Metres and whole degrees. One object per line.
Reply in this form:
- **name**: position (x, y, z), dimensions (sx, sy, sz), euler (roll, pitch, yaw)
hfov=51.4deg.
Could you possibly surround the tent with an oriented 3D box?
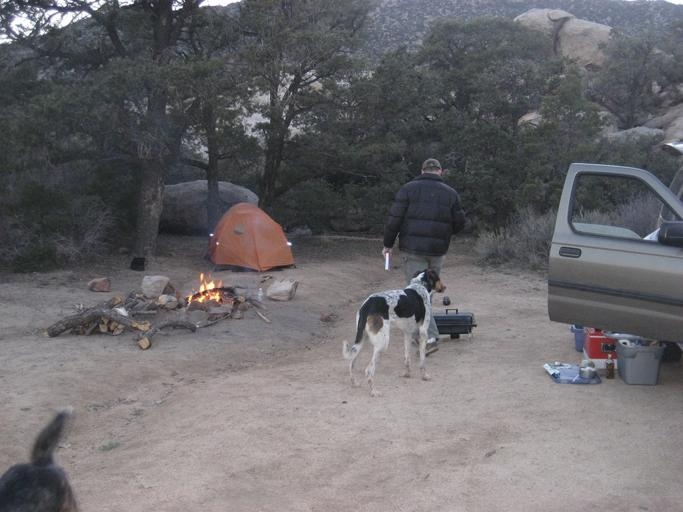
- **tent**: position (-2.539, -0.514, 20.219), dimensions (2.063, 1.819, 1.175), euler (2, 6, -4)

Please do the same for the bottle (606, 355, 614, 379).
- **bottle**: position (4.033, 1.666, 10.661), dimensions (0.133, 0.319, 0.271), euler (4, 6, 22)

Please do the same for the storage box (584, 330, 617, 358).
- **storage box**: position (3.950, 1.285, 10.917), dimensions (0.370, 0.497, 0.480), euler (-3, 7, 0)

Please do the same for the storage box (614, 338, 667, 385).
- **storage box**: position (4.521, 1.582, 10.531), dimensions (0.440, 0.479, 0.678), euler (4, -5, 25)

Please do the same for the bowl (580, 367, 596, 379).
- **bowl**: position (3.615, 1.730, 10.447), dimensions (0.186, 0.099, 0.145), euler (1, 2, 2)
